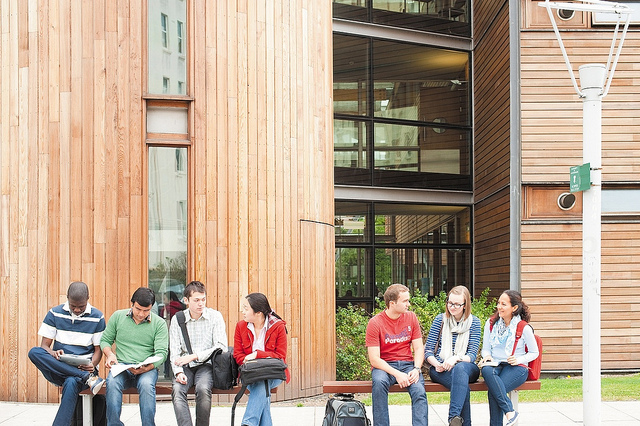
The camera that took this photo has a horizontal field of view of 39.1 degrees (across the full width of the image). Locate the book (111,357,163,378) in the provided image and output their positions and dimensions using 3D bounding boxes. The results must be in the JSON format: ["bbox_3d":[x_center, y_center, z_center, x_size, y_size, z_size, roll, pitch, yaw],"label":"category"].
[{"bbox_3d":[-2.834,2.292,13.491,0.422,0.130,0.312,-12,-4,-31],"label":"book"}]

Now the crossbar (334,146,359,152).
[{"bbox_3d":[0.603,-1.453,20.395,0.558,0.094,0.075,4,-2,-15],"label":"crossbar"}]

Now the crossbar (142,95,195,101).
[{"bbox_3d":[-2.611,-1.972,15.426,0.657,0.090,0.044,1,8,-7],"label":"crossbar"}]

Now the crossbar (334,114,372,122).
[{"bbox_3d":[0.756,-2.163,20.379,0.907,0.110,0.074,5,-2,-21],"label":"crossbar"}]

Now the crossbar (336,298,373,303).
[{"bbox_3d":[0.724,1.956,20.201,0.713,0.100,0.048,2,-1,-10],"label":"crossbar"}]

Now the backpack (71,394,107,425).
[{"bbox_3d":[-3.494,2.971,13.570,0.516,0.465,0.256,1,-7,-8],"label":"backpack"}]

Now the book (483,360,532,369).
[{"bbox_3d":[2.811,2.290,13.692,0.654,0.074,0.183,4,-3,1],"label":"book"}]

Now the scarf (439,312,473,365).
[{"bbox_3d":[2.080,1.921,13.903,0.467,0.947,0.133,11,35,26],"label":"scarf"}]

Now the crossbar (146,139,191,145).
[{"bbox_3d":[-2.580,-1.224,15.479,0.571,0.095,0.045,1,3,-7],"label":"crossbar"}]

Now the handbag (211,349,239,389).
[{"bbox_3d":[-1.491,2.351,13.550,0.508,0.738,0.775,0,-5,-4],"label":"handbag"}]

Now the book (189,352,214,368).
[{"bbox_3d":[-1.796,2.253,13.632,0.301,0.073,0.214,-20,3,8],"label":"book"}]
